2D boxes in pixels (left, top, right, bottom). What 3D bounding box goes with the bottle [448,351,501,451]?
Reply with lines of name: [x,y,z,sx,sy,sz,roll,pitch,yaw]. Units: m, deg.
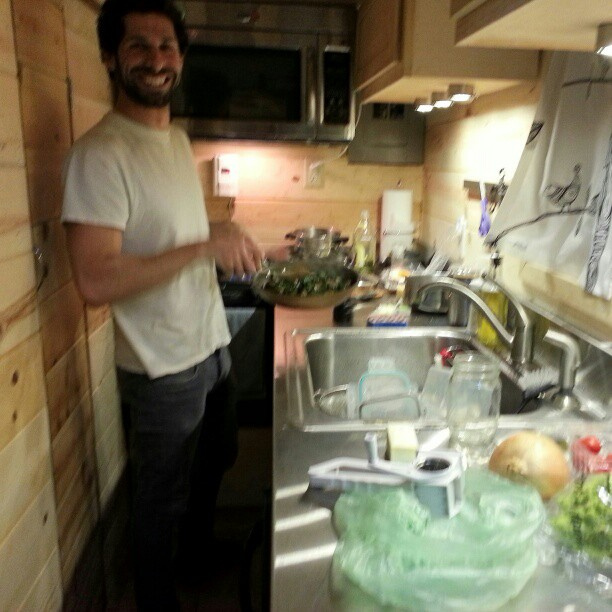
bottle: [0.294,0.151,0.913,0.089,0.120,0.226,-7,12,22]

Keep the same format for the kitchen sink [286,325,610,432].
kitchen sink: [0.224,0.161,1.254,0.450,0.208,0.492,0,21,-3]

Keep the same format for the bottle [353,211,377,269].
bottle: [0.296,-0.322,2.645,0.112,0.261,0.376,-8,10,9]

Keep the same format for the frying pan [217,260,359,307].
frying pan: [-0.048,-0.112,1.597,0.409,0.134,0.434,2,20,-1]
